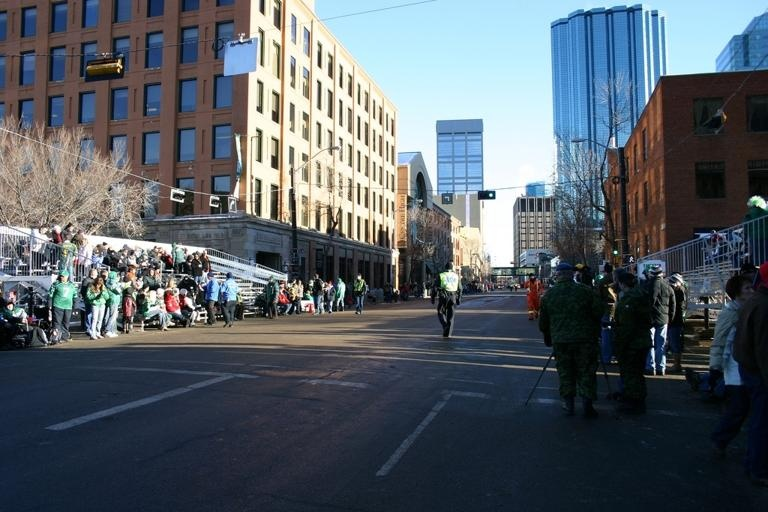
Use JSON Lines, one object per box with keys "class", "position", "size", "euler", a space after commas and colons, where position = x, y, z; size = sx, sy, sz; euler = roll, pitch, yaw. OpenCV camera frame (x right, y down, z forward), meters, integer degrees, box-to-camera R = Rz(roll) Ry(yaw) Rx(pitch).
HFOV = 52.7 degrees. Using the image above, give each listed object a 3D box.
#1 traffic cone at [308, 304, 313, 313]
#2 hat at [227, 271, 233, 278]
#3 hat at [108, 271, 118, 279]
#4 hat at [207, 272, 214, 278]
{"class": "traffic cone", "position": [-3.789, 2.678, 40.418], "size": [0.276, 0.460, 0.528], "euler": [-3, 15, -8]}
{"class": "hat", "position": [-6.511, 0.763, 32.750], "size": [0.204, 0.168, 0.204], "euler": [-17, -16, 4]}
{"class": "hat", "position": [-9.516, 0.641, 27.213], "size": [0.330, 0.352, 0.261], "euler": [-3, 1, -14]}
{"class": "hat", "position": [-8.199, 0.836, 36.838], "size": [0.269, 0.305, 0.260], "euler": [-29, -34, 31]}
